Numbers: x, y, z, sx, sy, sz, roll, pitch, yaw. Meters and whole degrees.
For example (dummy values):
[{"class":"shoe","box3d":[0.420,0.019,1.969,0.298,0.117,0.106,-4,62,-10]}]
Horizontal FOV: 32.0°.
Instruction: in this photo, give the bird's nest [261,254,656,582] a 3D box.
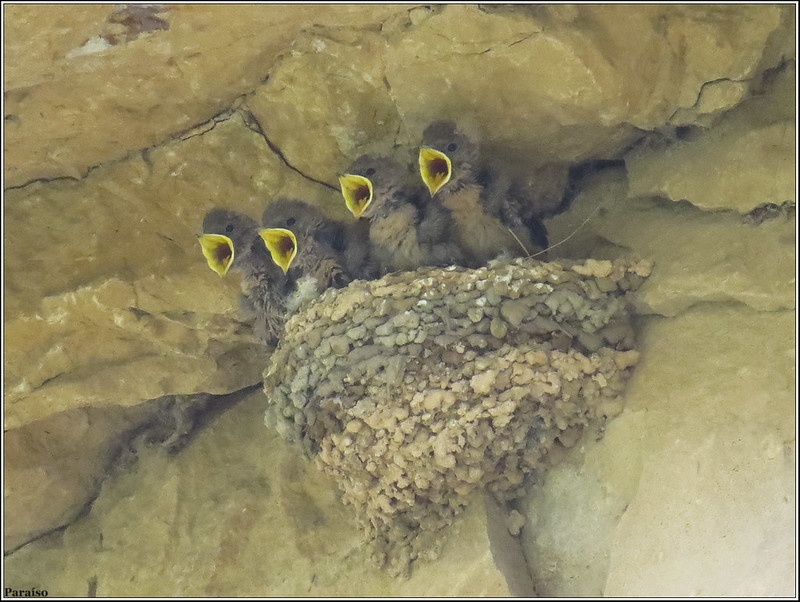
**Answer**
[{"class":"bird's nest","box3d":[0.311,0.435,7.973,2.117,0.636,1.506,-25,78,-4]}]

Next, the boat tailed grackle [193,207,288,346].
[{"class":"boat tailed grackle","box3d":[-0.868,-0.142,8.159,0.360,0.867,0.337,-11,32,33]}]

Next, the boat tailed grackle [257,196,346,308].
[{"class":"boat tailed grackle","box3d":[-0.568,-0.292,8.180,0.414,0.349,0.689,4,105,30]}]

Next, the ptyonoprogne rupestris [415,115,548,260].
[{"class":"ptyonoprogne rupestris","box3d":[0.609,-0.617,8.375,0.930,0.477,0.954,-25,111,-30]}]
